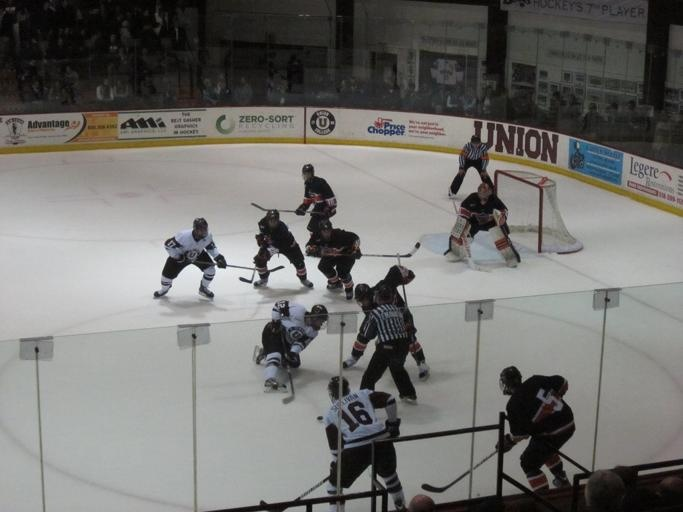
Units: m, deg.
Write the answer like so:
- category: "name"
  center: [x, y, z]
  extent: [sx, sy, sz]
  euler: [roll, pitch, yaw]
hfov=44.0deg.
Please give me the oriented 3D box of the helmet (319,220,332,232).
- category: "helmet"
  center: [-0.221, -0.433, 12.103]
  extent: [0.137, 0.153, 0.171]
  euler: [-3, 37, 0]

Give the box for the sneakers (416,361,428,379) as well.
- category: "sneakers"
  center: [0.784, 1.106, 8.132]
  extent: [0.086, 0.170, 0.179]
  euler: [-7, 12, 19]

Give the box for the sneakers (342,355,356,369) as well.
- category: "sneakers"
  center: [0.083, 0.987, 7.830]
  extent: [0.125, 0.060, 0.181]
  euler: [-16, -6, -3]

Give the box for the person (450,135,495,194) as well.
- category: "person"
  center: [2.775, -1.923, 17.880]
  extent: [1.092, 1.353, 0.792]
  euler: [-1, 26, 2]

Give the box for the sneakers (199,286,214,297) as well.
- category: "sneakers"
  center: [-2.014, 0.525, 12.439]
  extent: [0.288, 0.128, 0.106]
  euler: [15, 12, 31]

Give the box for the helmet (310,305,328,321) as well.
- category: "helmet"
  center: [-0.218, 0.572, 8.947]
  extent: [0.153, 0.137, 0.111]
  euler: [-14, 4, 12]

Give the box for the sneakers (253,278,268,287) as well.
- category: "sneakers"
  center: [-1.214, 0.415, 12.794]
  extent: [0.183, 0.092, 0.173]
  euler: [12, -27, -35]

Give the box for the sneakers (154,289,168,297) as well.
- category: "sneakers"
  center: [-2.623, 0.545, 12.323]
  extent: [0.190, 0.047, 0.096]
  euler: [-6, 23, -14]

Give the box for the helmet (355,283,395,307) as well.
- category: "helmet"
  center: [0.365, 0.476, 10.123]
  extent: [0.282, 0.326, 0.374]
  euler: [-8, 14, -37]

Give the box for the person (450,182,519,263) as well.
- category: "person"
  center: [2.307, -0.544, 13.901]
  extent: [1.260, 1.347, 0.992]
  euler: [0, 14, 10]

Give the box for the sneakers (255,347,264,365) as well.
- category: "sneakers"
  center: [-0.742, 0.925, 7.771]
  extent: [0.071, 0.160, 0.055]
  euler: [10, -10, -26]

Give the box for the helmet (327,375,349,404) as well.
- category: "helmet"
  center: [-0.038, 1.230, 7.788]
  extent: [0.183, 0.230, 0.228]
  euler: [0, 26, -9]

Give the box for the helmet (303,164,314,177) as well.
- category: "helmet"
  center: [-0.538, -1.437, 14.025]
  extent: [0.203, 0.221, 0.258]
  euler: [1, 14, 2]

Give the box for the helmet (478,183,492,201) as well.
- category: "helmet"
  center: [2.310, -1.041, 13.718]
  extent: [0.224, 0.302, 0.199]
  euler: [4, 12, 18]

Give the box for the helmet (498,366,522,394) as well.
- category: "helmet"
  center: [1.588, 1.194, 7.987]
  extent: [0.205, 0.256, 0.261]
  euler: [1, 21, -1]

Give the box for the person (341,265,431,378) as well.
- category: "person"
  center: [0.476, 0.724, 9.101]
  extent: [0.607, 1.072, 0.820]
  euler: [-8, 22, -41]

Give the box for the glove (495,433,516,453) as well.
- category: "glove"
  center: [1.542, 1.754, 7.882]
  extent: [0.210, 0.086, 0.126]
  euler: [-26, 37, -12]

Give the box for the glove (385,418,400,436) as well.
- category: "glove"
  center: [0.488, 1.630, 7.960]
  extent: [0.141, 0.160, 0.172]
  euler: [2, 9, 4]

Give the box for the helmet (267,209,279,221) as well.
- category: "helmet"
  center: [-0.983, -0.588, 12.244]
  extent: [0.168, 0.157, 0.157]
  euler: [-3, 11, -16]

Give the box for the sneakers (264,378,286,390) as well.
- category: "sneakers"
  center: [-0.605, 1.178, 7.752]
  extent: [0.170, 0.057, 0.101]
  euler: [3, -1, -16]

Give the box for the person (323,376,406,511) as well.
- category: "person"
  center: [0.224, 1.746, 7.807]
  extent: [0.758, 1.262, 0.661]
  euler: [0, 11, -2]

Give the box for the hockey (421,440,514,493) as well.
- category: "hockey"
  center: [1.150, 1.988, 7.986]
  extent: [0.903, 0.158, 0.091]
  euler: [-31, 22, -9]

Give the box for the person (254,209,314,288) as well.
- category: "person"
  center: [-0.893, -0.111, 12.600]
  extent: [0.886, 1.363, 0.754]
  euler: [-2, 24, 2]
